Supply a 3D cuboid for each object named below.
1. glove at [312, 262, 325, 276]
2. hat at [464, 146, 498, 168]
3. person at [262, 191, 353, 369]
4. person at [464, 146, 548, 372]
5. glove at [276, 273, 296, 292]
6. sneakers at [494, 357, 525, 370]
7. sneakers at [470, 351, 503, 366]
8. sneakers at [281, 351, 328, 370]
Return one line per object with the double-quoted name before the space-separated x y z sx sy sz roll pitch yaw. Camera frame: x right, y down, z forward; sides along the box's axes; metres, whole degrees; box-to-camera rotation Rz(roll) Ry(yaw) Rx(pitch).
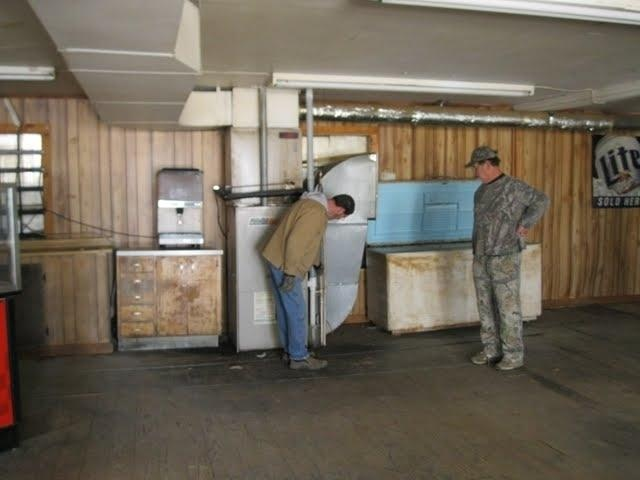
"glove" -0.019 0.330 6.219 0.091 0.054 0.148 0 -32 -2
"hat" 1.711 -0.887 5.870 0.372 0.193 0.276 -4 7 11
"person" -0.179 0.434 5.794 0.834 1.792 0.473 -2 12 -6
"person" 1.855 0.196 5.794 0.749 2.268 0.584 11 17 43
"glove" -0.337 0.437 5.606 0.148 0.185 0.056 4 6 12
"sneakers" 1.947 1.285 5.723 0.228 0.086 0.122 3 -1 -8
"sneakers" 1.753 1.263 5.895 0.238 0.092 0.130 5 0 7
"sneakers" -0.166 1.295 5.863 0.476 0.193 0.171 -1 3 -10
